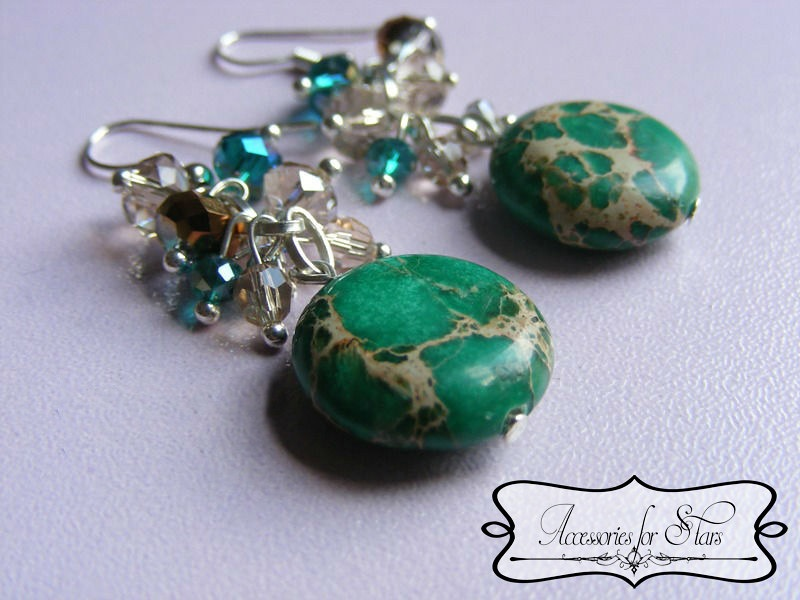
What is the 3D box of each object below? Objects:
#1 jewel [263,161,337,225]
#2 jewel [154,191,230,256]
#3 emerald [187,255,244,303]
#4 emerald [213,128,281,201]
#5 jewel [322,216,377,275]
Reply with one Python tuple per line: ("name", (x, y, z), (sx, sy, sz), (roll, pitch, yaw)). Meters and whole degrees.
("jewel", (-0.205, -0.201, 1.797), (0.130, 0.136, 0.109), (0, 47, 34))
("jewel", (-0.418, -0.164, 1.676), (0.108, 0.110, 0.081), (-25, 21, -21))
("emerald", (-0.350, -0.042, 1.631), (0.091, 0.060, 0.082), (9, 72, 1))
("emerald", (-0.340, -0.294, 1.900), (0.120, 0.128, 0.120), (-7, 83, -7))
("jewel", (-0.101, -0.108, 1.702), (0.091, 0.081, 0.112), (14, 4, 3))
